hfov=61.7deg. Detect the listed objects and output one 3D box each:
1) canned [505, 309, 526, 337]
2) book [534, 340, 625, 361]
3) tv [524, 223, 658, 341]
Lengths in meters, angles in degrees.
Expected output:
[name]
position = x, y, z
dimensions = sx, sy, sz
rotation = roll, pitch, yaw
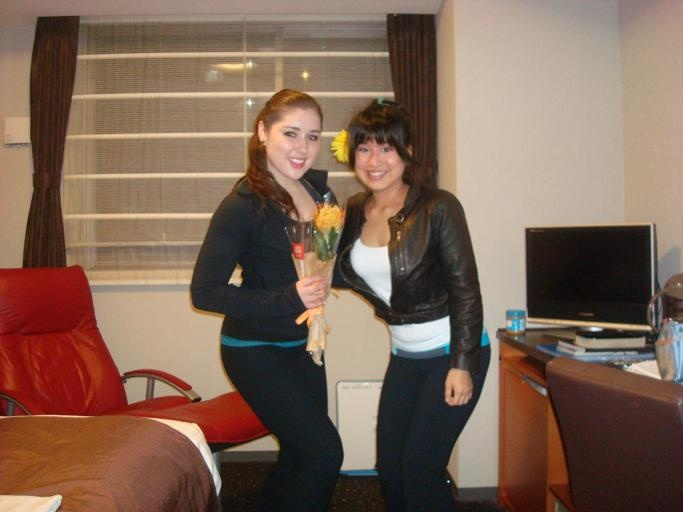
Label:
[canned]
position = 1.062, 0.405, 3.485
dimensions = 0.125, 0.146, 0.129
rotation = 0, -2, -3
[book]
position = 1.264, 0.518, 3.021
dimensions = 0.253, 0.067, 0.267
rotation = 2, 1, -20
[tv]
position = 1.450, 0.151, 3.272
dimensions = 0.640, 0.570, 0.068
rotation = 1, 3, 35
